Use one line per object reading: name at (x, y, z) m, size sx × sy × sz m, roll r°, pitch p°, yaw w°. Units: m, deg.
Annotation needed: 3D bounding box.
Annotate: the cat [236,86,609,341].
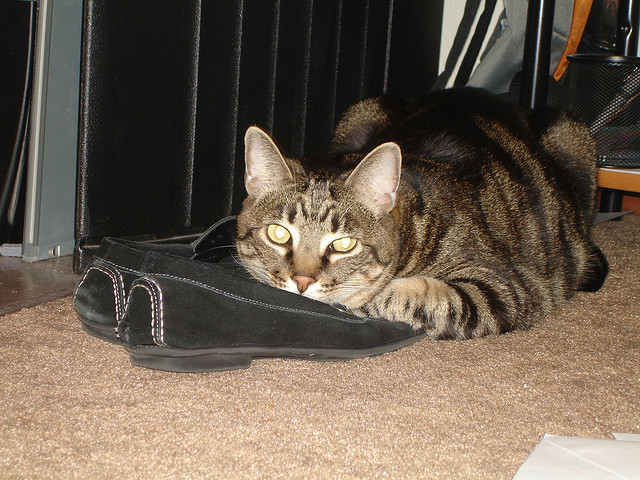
cat at (0.350, -0.112, 1.742) m, size 0.740 × 0.489 × 1.080 m, roll 10°, pitch 26°, yaw 29°
